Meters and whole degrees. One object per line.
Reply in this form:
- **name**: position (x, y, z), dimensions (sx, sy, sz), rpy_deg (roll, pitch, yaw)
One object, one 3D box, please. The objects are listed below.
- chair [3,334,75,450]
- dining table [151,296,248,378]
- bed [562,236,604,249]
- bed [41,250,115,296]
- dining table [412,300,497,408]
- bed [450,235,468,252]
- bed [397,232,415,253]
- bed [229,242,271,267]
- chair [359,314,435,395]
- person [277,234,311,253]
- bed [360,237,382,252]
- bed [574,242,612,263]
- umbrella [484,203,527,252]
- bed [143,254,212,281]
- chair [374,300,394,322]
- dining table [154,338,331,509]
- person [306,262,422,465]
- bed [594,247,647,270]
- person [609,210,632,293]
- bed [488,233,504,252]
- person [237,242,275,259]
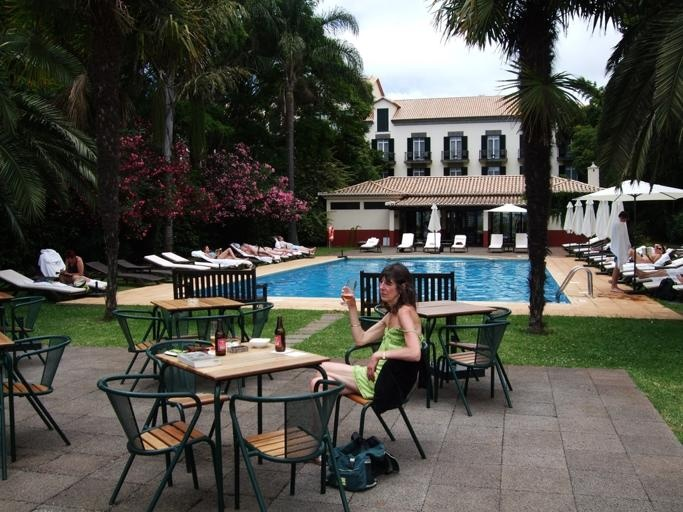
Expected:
- **chair**: position (-3.289, 1.495, 5.924), dimensions (0.814, 1.234, 0.894), rpy_deg (3, -1, -34)
- **dining table**: position (-1.688, 0.919, 6.440), dimensions (0.871, 0.626, 0.910), rpy_deg (-1, 1, -28)
- **bed**: position (13.247, -0.777, 29.978), dimensions (1.899, 0.638, 1.441), rpy_deg (1, -1, 20)
- **bed**: position (-7.528, 0.509, 15.437), dimensions (2.296, 1.450, 0.907), rpy_deg (9, 11, 28)
- **dining table**: position (1.430, 1.214, 7.401), dimensions (1.104, 1.195, 1.181), rpy_deg (0, 1, -16)
- **bed**: position (7.425, -0.786, 34.448), dimensions (0.712, 0.865, 1.306), rpy_deg (-2, -2, 19)
- **bed**: position (3.969, -0.831, 34.022), dimensions (0.771, 0.951, 1.378), rpy_deg (-1, 1, 16)
- **bed**: position (-4.320, 0.008, 26.036), dimensions (1.427, 0.698, 1.199), rpy_deg (2, 5, -9)
- **chair**: position (0.364, 0.976, 5.124), dimensions (0.643, 0.779, 0.491), rpy_deg (19, -2, -34)
- **person**: position (-2.724, -0.525, 30.506), dimensions (1.489, 0.681, 1.104), rpy_deg (9, 9, -9)
- **bed**: position (1.805, -0.740, 34.093), dimensions (0.757, 0.775, 1.419), rpy_deg (-1, -1, 17)
- **bed**: position (11.153, -0.166, 23.889), dimensions (1.810, 0.836, 1.347), rpy_deg (-1, 1, -27)
- **umbrella**: position (10.972, -1.934, 36.726), dimensions (3.113, 2.269, 3.032), rpy_deg (-2, 2, -23)
- **bed**: position (-5.467, 0.359, 17.897), dimensions (1.673, 0.635, 0.930), rpy_deg (2, 2, 15)
- **chair**: position (0.520, 0.614, 6.464), dimensions (0.270, 0.344, 0.256), rpy_deg (0, -8, -2)
- **dining table**: position (-0.915, 1.283, 4.908), dimensions (1.107, 0.987, 1.179), rpy_deg (-4, 5, -39)
- **person**: position (0.429, 0.704, 5.215), dimensions (1.210, 2.249, 0.995), rpy_deg (3, 0, 2)
- **bed**: position (9.865, 0.127, 19.164), dimensions (1.755, 0.799, 1.376), rpy_deg (-1, 3, -5)
- **person**: position (7.501, -0.155, 14.574), dimensions (0.409, 2.064, 0.571), rpy_deg (4, 1, 3)
- **bed**: position (9.453, -0.831, 33.324), dimensions (0.733, 0.923, 1.405), rpy_deg (0, 1, 15)
- **person**: position (-4.217, -0.272, 26.815), dimensions (0.832, 0.483, 1.290), rpy_deg (-6, -6, 36)
